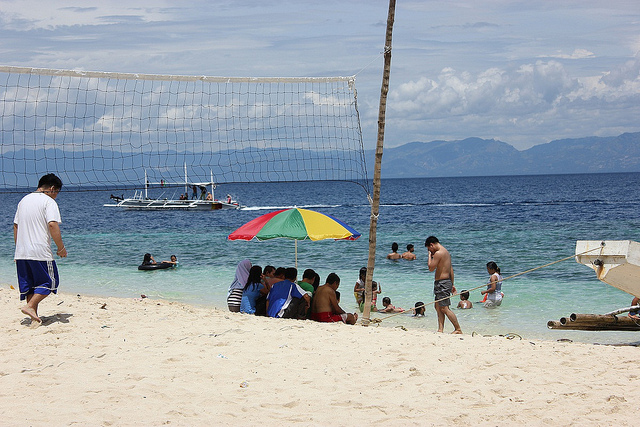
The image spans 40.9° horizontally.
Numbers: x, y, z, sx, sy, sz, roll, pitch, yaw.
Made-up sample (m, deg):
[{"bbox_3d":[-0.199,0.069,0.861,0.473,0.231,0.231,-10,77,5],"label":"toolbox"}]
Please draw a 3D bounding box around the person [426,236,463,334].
[{"bbox_3d":[2.685,1.532,18.555,0.773,2.065,1.596,1,1,8],"label":"person"}]

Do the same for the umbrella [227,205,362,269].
[{"bbox_3d":[-0.804,0.850,27.407,2.933,1.495,2.630,0,-2,-2],"label":"umbrella"}]

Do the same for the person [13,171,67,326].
[{"bbox_3d":[-5.520,0.725,16.791,0.985,3.011,0.590,1,1,-9],"label":"person"}]

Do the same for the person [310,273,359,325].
[{"bbox_3d":[0.241,1.915,18.638,1.115,1.167,1.004,0,-7,42],"label":"person"}]

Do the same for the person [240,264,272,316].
[{"bbox_3d":[-1.416,1.665,18.614,0.712,1.040,0.499,1,1,-27],"label":"person"}]
